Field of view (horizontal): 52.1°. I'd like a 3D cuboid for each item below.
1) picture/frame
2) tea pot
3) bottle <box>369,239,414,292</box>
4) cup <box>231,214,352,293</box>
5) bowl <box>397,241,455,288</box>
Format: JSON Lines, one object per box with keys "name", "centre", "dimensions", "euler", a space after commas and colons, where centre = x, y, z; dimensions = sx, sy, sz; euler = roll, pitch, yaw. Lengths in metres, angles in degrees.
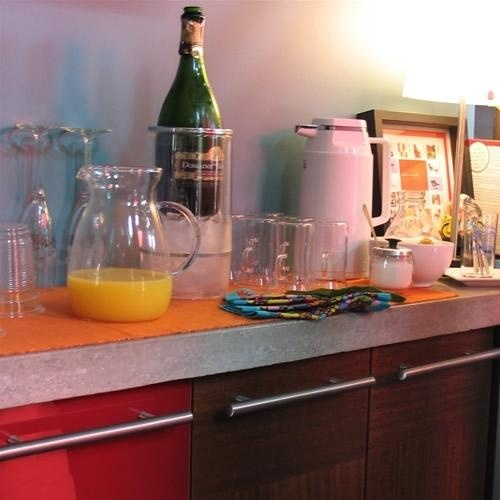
{"name": "picture/frame", "centre": [0.421, -0.164, 1.295], "dimensions": [0.413, 0.475, 0.048], "euler": [-1, 0, -33]}
{"name": "tea pot", "centre": [-0.176, -0.002, 0.836], "dimensions": [0.219, 0.228, 0.164], "euler": [3, -1, -13]}
{"name": "bottle", "centre": [0.277, 0.036, 1.042], "dimensions": [0.095, 0.097, 0.086], "euler": [2, 1, -34]}
{"name": "cup", "centre": [0.085, 0.008, 1.059], "dimensions": [0.209, 0.125, 0.144], "euler": [0, 1, -35]}
{"name": "bowl", "centre": [0.369, 0.029, 1.106], "dimensions": [0.128, 0.094, 0.125], "euler": [1, 12, 0]}
